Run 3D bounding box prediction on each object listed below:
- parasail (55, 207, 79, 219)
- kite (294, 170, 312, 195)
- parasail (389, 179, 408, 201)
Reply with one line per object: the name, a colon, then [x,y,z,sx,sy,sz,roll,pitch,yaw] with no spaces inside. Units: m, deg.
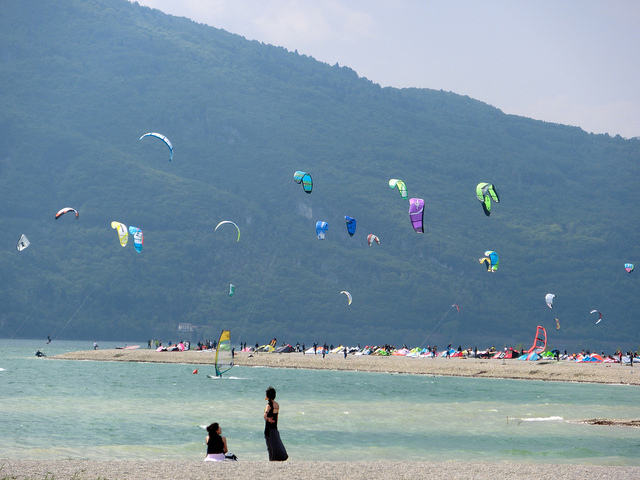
parasail: [-36.795,-3.801,125.790,2.445,0.858,2.487,-29,14,-36]
kite: [-1.700,-5.617,85.995,1.393,1.887,1.870,-2,5,-22]
parasail: [7.612,-4.556,86.796,1.000,2.744,1.972,-13,30,12]
